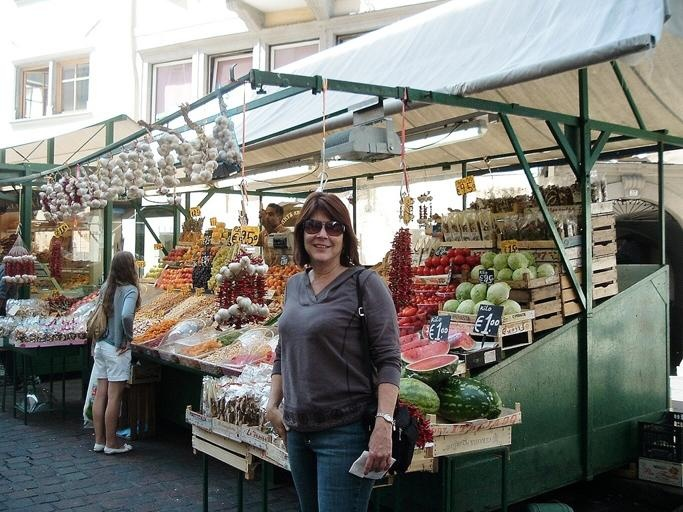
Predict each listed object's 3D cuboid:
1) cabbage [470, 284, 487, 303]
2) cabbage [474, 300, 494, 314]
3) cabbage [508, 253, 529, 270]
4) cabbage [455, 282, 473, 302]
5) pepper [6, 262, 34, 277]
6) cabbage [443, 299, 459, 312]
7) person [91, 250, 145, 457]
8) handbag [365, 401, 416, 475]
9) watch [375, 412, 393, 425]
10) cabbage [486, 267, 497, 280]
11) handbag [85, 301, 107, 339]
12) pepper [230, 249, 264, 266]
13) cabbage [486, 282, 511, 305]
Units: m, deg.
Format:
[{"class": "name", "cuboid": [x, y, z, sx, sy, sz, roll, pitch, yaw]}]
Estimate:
[{"class": "cabbage", "cuboid": [1.350, 0.364, 5.795, 0.132, 0.140, 0.180, 4, 17, 19]}, {"class": "cabbage", "cuboid": [1.354, 0.471, 5.618, 0.131, 0.158, 0.137, 14, 25, 36]}, {"class": "cabbage", "cuboid": [1.728, 0.044, 5.805, 0.169, 0.170, 0.163, 3, 4, -7]}, {"class": "cabbage", "cuboid": [1.237, 0.362, 5.974, 0.187, 0.143, 0.135, -21, -2, -41]}, {"class": "pepper", "cuboid": [-5.289, 0.205, 9.724, 0.238, 0.181, 0.276, -3, 1, 4]}, {"class": "cabbage", "cuboid": [1.100, 0.502, 5.913, 0.119, 0.144, 0.120, 6, 26, -29]}, {"class": "person", "cuboid": [-2.510, 1.083, 6.809, 0.617, 2.163, 0.569, -1, -2, 36]}, {"class": "handbag", "cuboid": [0.225, 0.955, 3.409, 0.335, 0.506, 0.432, -3, -2, -1]}, {"class": "watch", "cuboid": [0.236, 0.862, 3.113, 0.104, 0.073, 0.043, -1, 1, -18]}, {"class": "cabbage", "cuboid": [1.487, 0.179, 5.886, 0.095, 0.115, 0.098, 7, 10, 37]}, {"class": "handbag", "cuboid": [-2.808, 0.744, 6.693, 0.277, 0.423, 0.174, 1, 1, 45]}, {"class": "pepper", "cuboid": [-0.886, -0.003, 5.671, 0.202, 0.116, 0.255, 0, -2, 24]}, {"class": "cabbage", "cuboid": [1.495, 0.354, 5.619, 0.210, 0.172, 0.166, -20, -10, 22]}]
